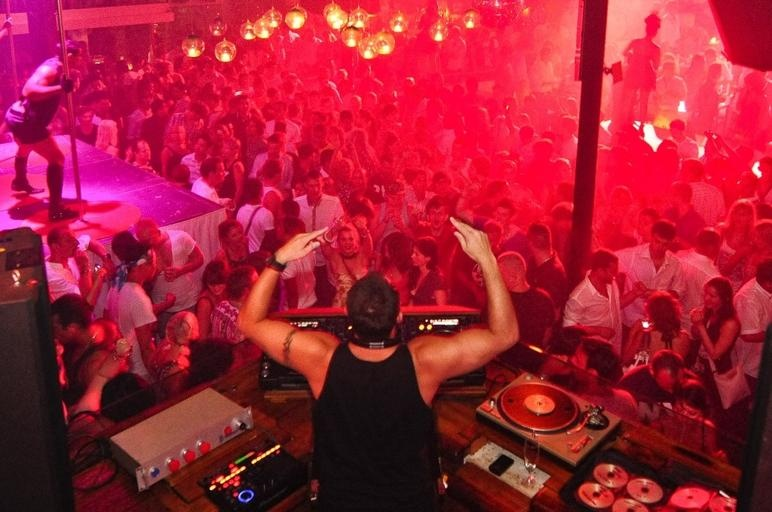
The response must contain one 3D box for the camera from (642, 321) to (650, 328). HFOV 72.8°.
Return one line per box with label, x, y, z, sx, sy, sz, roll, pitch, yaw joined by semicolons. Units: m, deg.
camera;2.564;0.674;5.161;0.060;0.046;0.048;1;12;14
